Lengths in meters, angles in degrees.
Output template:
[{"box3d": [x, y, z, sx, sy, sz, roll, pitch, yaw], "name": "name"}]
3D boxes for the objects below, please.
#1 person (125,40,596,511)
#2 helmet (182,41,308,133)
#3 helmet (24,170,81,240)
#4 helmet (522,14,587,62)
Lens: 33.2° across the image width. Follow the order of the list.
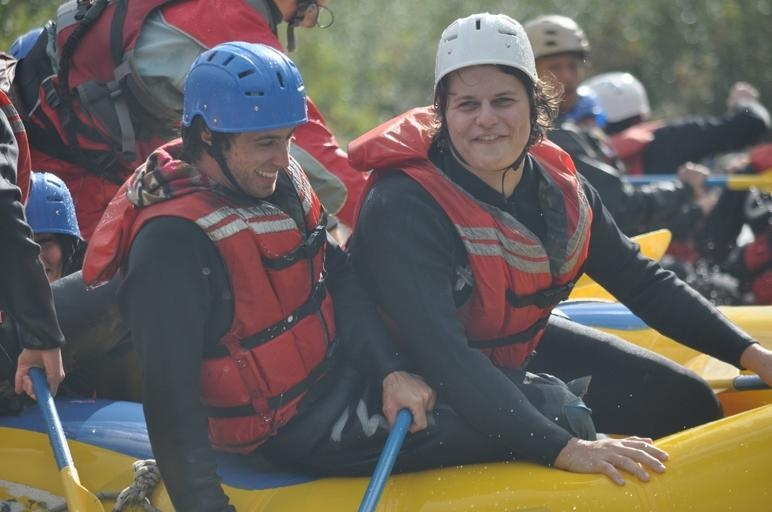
[{"box3d": [-0.624, 0.072, 6.727, 1.454, 2.326, 0.595, -9, 9, -13], "name": "person"}, {"box3d": [-0.721, -0.862, 6.740, 0.520, 0.337, 0.448, 2, 7, 26], "name": "helmet"}, {"box3d": [-1.875, -0.286, 7.411, 0.245, 0.337, 0.357, 0, -15, -2], "name": "helmet"}, {"box3d": [1.257, -1.626, 9.586, 0.434, 0.445, 0.339, -11, 13, -21], "name": "helmet"}]
